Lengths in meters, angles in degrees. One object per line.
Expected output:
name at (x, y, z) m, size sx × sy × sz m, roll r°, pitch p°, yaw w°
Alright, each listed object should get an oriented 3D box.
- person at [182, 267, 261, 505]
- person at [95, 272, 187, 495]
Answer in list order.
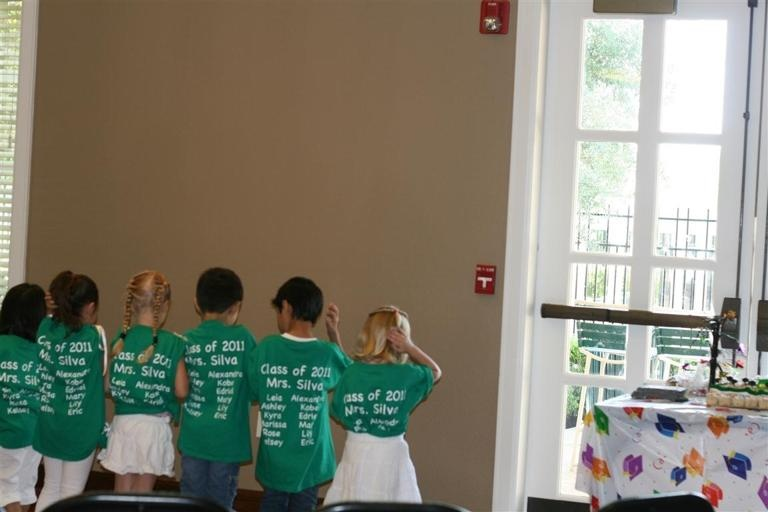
person at (-0.905, 0.713, 5.039) m, size 0.390 × 1.261 × 0.194 m, roll 3°, pitch -1°, yaw -10°
person at (-1.295, 0.680, 5.073) m, size 0.440 × 1.193 × 0.245 m, roll 3°, pitch -1°, yaw -15°
